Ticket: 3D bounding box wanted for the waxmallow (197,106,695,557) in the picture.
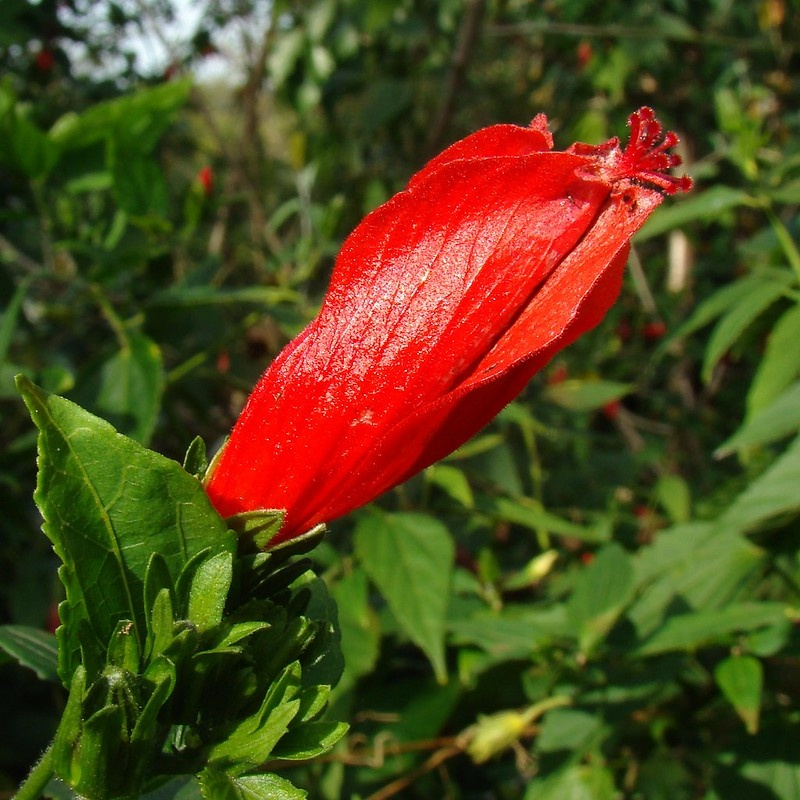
[{"bbox_3d":[0.035,-0.077,1.039,0.232,0.542,0.110,38,-1,8],"label":"waxmallow"}]
